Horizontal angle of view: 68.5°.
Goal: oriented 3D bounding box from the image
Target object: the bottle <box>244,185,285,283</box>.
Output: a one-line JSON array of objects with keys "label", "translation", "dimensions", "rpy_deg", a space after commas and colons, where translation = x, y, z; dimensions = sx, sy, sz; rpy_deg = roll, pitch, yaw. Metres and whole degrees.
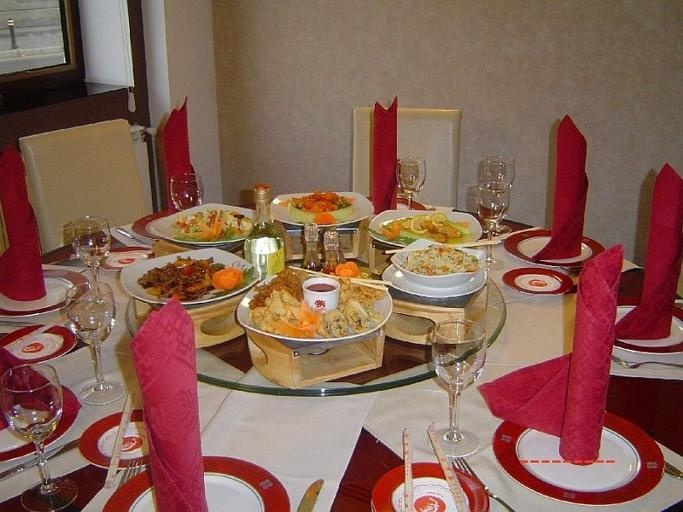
[{"label": "bottle", "translation": [-0.227, -0.071, 1.417], "dimensions": [0.110, 0.259, 0.109], "rpy_deg": [5, 25, -2]}]

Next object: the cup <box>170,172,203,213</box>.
[{"label": "cup", "translation": [-0.568, -0.210, 1.840], "dimensions": [0.109, 0.175, 0.106], "rpy_deg": [-6, 19, 2]}]

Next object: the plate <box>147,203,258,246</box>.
[{"label": "plate", "translation": [-0.485, -0.102, 1.683], "dimensions": [0.224, 0.056, 0.225], "rpy_deg": [7, 30, 24]}]

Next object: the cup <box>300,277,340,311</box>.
[{"label": "cup", "translation": [-0.044, 0.096, 1.200], "dimensions": [0.117, 0.054, 0.118], "rpy_deg": [-3, 12, 1]}]

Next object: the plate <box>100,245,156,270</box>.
[{"label": "plate", "translation": [-0.706, 0.001, 1.652], "dimensions": [0.100, 0.014, 0.101], "rpy_deg": [0, 32, -6]}]

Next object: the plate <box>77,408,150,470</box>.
[{"label": "plate", "translation": [-0.385, 0.348, 0.923], "dimensions": [0.157, 0.160, 0.026], "rpy_deg": [15, 29, -36]}]

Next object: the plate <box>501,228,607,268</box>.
[{"label": "plate", "translation": [0.708, -0.038, 1.735], "dimensions": [0.207, 0.030, 0.211], "rpy_deg": [-6, 27, -4]}]
